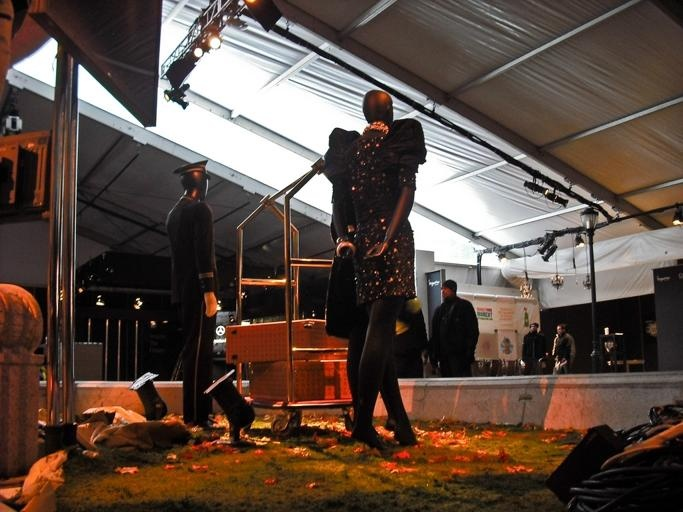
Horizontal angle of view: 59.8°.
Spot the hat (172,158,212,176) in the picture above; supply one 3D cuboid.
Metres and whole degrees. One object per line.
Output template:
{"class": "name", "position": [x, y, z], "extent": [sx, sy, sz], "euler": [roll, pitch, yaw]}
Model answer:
{"class": "hat", "position": [-1.306, -0.746, 5.076], "extent": [0.288, 0.097, 0.282], "euler": [-4, 2, 22]}

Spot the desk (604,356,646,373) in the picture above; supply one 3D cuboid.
{"class": "desk", "position": [7.637, 2.909, 16.014], "extent": [0.942, 0.441, 4.694], "euler": [-5, -11, 27]}

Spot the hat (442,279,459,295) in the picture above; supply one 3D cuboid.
{"class": "hat", "position": [1.582, 0.524, 8.806], "extent": [0.232, 0.237, 0.167], "euler": [29, -27, -30]}

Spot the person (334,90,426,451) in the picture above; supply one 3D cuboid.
{"class": "person", "position": [0.214, -0.002, 3.544], "extent": [0.656, 2.199, 0.400], "euler": [-8, -12, 40]}

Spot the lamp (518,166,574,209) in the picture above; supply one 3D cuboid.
{"class": "lamp", "position": [4.839, -1.692, 13.962], "extent": [0.859, 0.286, 0.869], "euler": [33, -22, -9]}

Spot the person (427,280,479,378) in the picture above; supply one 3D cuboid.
{"class": "person", "position": [1.552, 0.979, 8.334], "extent": [0.597, 1.407, 0.972], "euler": [1, -9, -9]}

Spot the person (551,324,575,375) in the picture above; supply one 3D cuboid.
{"class": "person", "position": [5.298, 2.201, 14.230], "extent": [0.473, 1.175, 1.449], "euler": [-4, -10, 19]}

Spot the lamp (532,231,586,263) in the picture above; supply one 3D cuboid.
{"class": "lamp", "position": [6.096, -0.295, 16.811], "extent": [0.968, 0.711, 2.135], "euler": [-2, -9, 7]}

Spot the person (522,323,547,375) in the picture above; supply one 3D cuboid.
{"class": "person", "position": [4.827, 2.319, 15.007], "extent": [0.567, 1.286, 1.314], "euler": [-3, -10, 17]}

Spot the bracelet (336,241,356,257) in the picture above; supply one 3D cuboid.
{"class": "bracelet", "position": [0.023, -0.048, 3.514], "extent": [0.096, 0.076, 0.094], "euler": [-9, 18, 8]}

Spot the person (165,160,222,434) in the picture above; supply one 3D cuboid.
{"class": "person", "position": [-1.161, 0.220, 4.715], "extent": [0.377, 2.174, 0.627], "euler": [5, -11, -28]}
